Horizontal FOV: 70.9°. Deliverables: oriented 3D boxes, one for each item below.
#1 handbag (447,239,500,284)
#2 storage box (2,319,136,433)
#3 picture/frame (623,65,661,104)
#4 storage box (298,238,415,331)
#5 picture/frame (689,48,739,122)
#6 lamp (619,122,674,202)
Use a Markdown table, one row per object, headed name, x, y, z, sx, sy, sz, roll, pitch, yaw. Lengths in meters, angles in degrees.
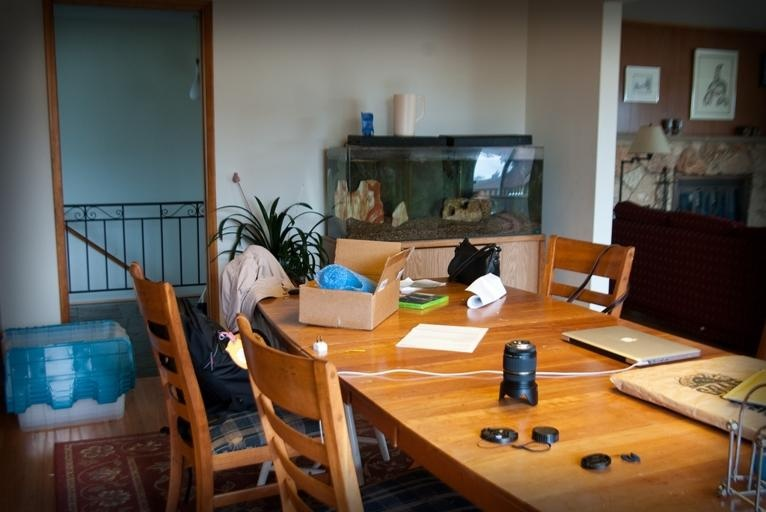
| name | x | y | z | sx | sy | sz | roll | pitch | yaw |
| --- | --- | --- | --- | --- | --- | --- | --- | --- | --- |
| handbag | 0.489 | 0.036 | 2.963 | 0.150 | 0.218 | 0.283 | 4 | 6 | -35 |
| storage box | -2.039 | 0.692 | 3.586 | 0.903 | 0.592 | 0.602 | -3 | 18 | -18 |
| picture/frame | 3.355 | -2.257 | 7.030 | 0.571 | 0.504 | 0.039 | -2 | 5 | -14 |
| storage box | -0.124 | 0.129 | 2.334 | 0.428 | 0.311 | 0.451 | 5 | 10 | 19 |
| picture/frame | 4.551 | -2.365 | 7.434 | 0.842 | 0.959 | 0.107 | -6 | 14 | -19 |
| lamp | 3.355 | -1.133 | 6.919 | 0.587 | 1.115 | 1.088 | 4 | 14 | 26 |
